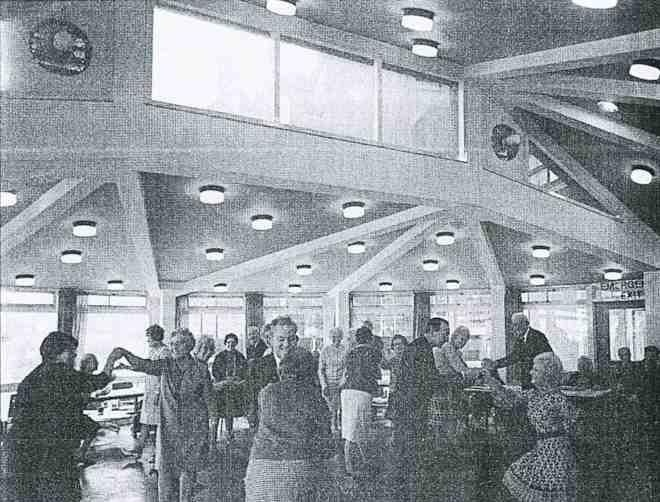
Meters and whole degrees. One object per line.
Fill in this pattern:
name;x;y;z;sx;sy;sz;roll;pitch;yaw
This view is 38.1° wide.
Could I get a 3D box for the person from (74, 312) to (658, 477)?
person;0.610;1.309;8.364;3.437;1.272;0.788;0;-10;-1
